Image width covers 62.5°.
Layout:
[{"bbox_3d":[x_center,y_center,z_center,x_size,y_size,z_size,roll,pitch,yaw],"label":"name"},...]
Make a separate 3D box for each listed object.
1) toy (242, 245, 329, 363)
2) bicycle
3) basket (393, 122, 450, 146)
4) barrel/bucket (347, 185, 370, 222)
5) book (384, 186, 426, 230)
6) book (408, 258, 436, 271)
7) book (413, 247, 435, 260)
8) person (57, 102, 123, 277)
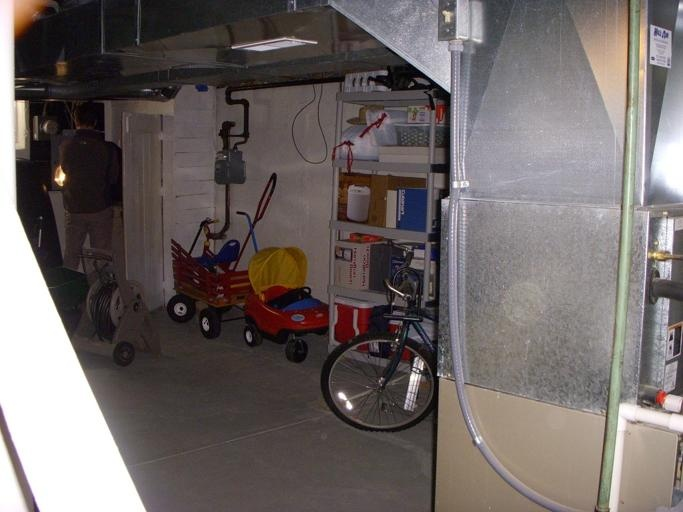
[{"bbox_3d":[-0.584,0.411,5.529,0.773,1.173,0.991,-6,12,-42],"label":"toy"},{"bbox_3d":[0.302,0.534,4.317,0.805,1.301,1.292,2,10,5],"label":"bicycle"},{"bbox_3d":[0.682,-1.028,4.788,0.337,0.156,0.266,10,14,44],"label":"basket"},{"bbox_3d":[0.158,-0.491,5.149,0.268,0.332,0.279,3,3,0],"label":"barrel/bucket"},{"bbox_3d":[0.589,-0.361,4.997,0.417,0.436,0.214,4,-30,1],"label":"book"},{"bbox_3d":[0.710,0.063,4.968,0.164,0.106,0.175,2,0,-25],"label":"book"},{"bbox_3d":[0.697,-0.006,4.938,0.139,0.145,0.034,1,-5,26],"label":"book"},{"bbox_3d":[-2.711,-0.764,6.105,0.631,1.713,0.376,-4,11,-25],"label":"person"}]
